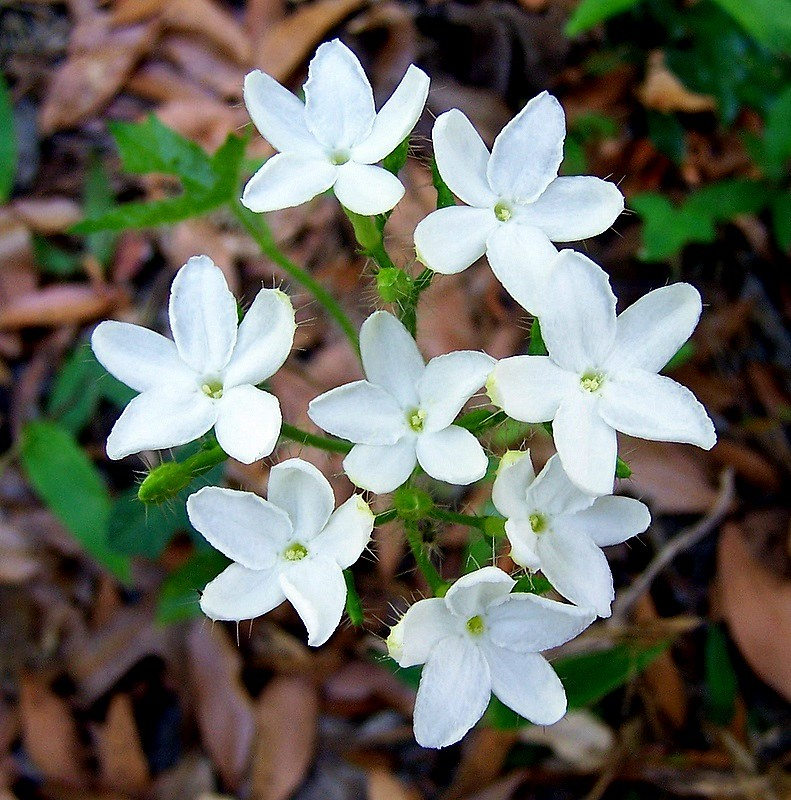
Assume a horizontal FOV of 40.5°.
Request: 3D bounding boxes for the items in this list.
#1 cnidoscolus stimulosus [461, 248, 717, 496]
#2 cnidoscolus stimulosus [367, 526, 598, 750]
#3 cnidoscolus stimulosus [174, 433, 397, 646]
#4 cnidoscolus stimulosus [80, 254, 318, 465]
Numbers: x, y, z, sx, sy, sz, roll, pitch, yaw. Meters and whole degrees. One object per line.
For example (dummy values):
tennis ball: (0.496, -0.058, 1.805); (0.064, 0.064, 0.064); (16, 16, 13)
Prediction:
cnidoscolus stimulosus: (0.487, -0.162, 2.826); (0.504, 0.552, 0.204); (-37, 93, 4)
cnidoscolus stimulosus: (0.241, 0.612, 2.873); (0.508, 0.224, 0.471); (-2, 96, 4)
cnidoscolus stimulosus: (-0.233, 0.354, 2.663); (0.372, 0.204, 0.434); (-27, 58, -30)
cnidoscolus stimulosus: (-0.535, -0.110, 2.776); (0.537, 0.207, 0.540); (4, 79, 0)
